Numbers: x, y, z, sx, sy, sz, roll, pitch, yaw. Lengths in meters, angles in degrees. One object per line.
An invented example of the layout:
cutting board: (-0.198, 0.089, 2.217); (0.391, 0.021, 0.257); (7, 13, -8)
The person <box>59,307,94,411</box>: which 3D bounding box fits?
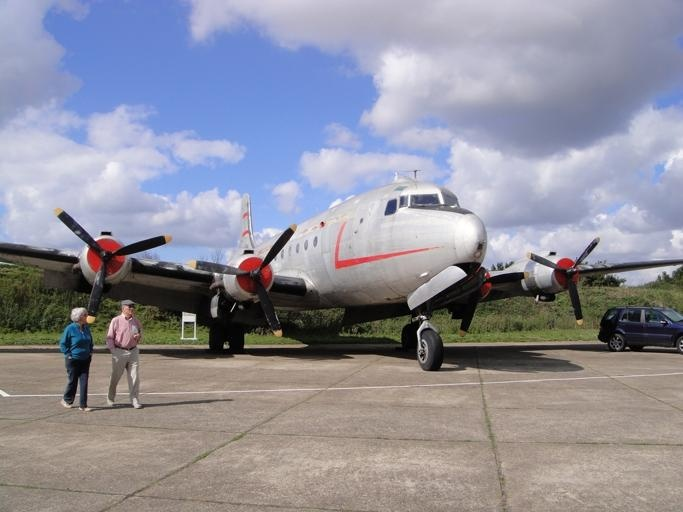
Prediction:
person: (-4.545, 1.738, 7.629); (0.485, 1.664, 0.932); (6, -9, -31)
